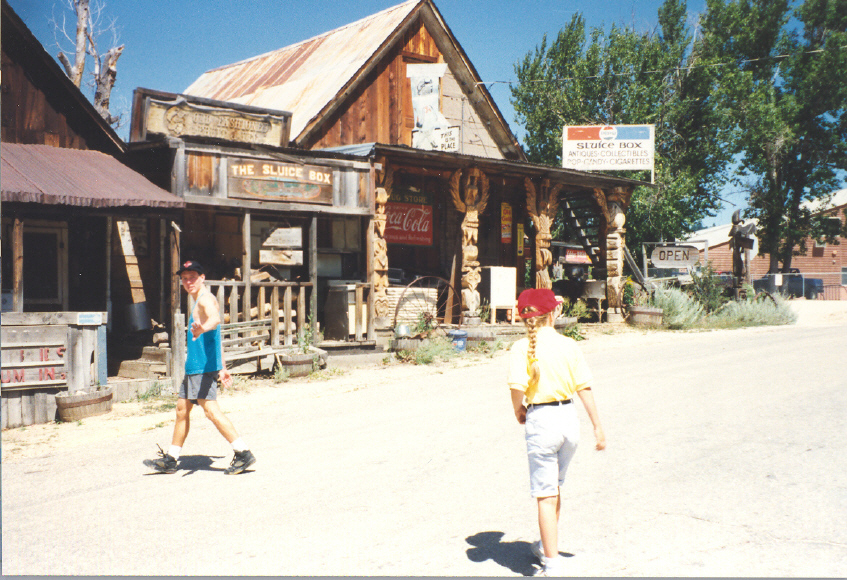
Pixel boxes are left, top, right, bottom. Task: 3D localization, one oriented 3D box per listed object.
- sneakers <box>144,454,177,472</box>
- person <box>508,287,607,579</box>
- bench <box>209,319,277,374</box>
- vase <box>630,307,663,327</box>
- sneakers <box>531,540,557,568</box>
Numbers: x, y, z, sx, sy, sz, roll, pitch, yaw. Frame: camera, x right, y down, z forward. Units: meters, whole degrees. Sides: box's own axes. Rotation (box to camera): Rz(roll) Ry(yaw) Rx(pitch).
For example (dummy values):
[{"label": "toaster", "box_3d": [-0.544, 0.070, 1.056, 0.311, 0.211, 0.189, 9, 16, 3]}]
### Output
[{"label": "sneakers", "box_3d": [-3.726, 2.490, 10.971, 0.428, 0.225, 0.237, 13, 3, -3]}, {"label": "person", "box_3d": [1.384, 1.517, 8.513, 0.748, 2.986, 0.898, -7, 10, -39]}, {"label": "bench", "box_3d": [-3.726, 1.311, 16.995, 0.457, 0.745, 1.237, 23, 16, 33]}, {"label": "vase", "box_3d": [7.105, 0.893, 24.552, 0.628, 0.461, 0.688, 1, -1, 9]}, {"label": "sneakers", "box_3d": [1.330, 2.940, 8.466, 0.131, 0.199, 0.427, -3, 1, -2]}]
